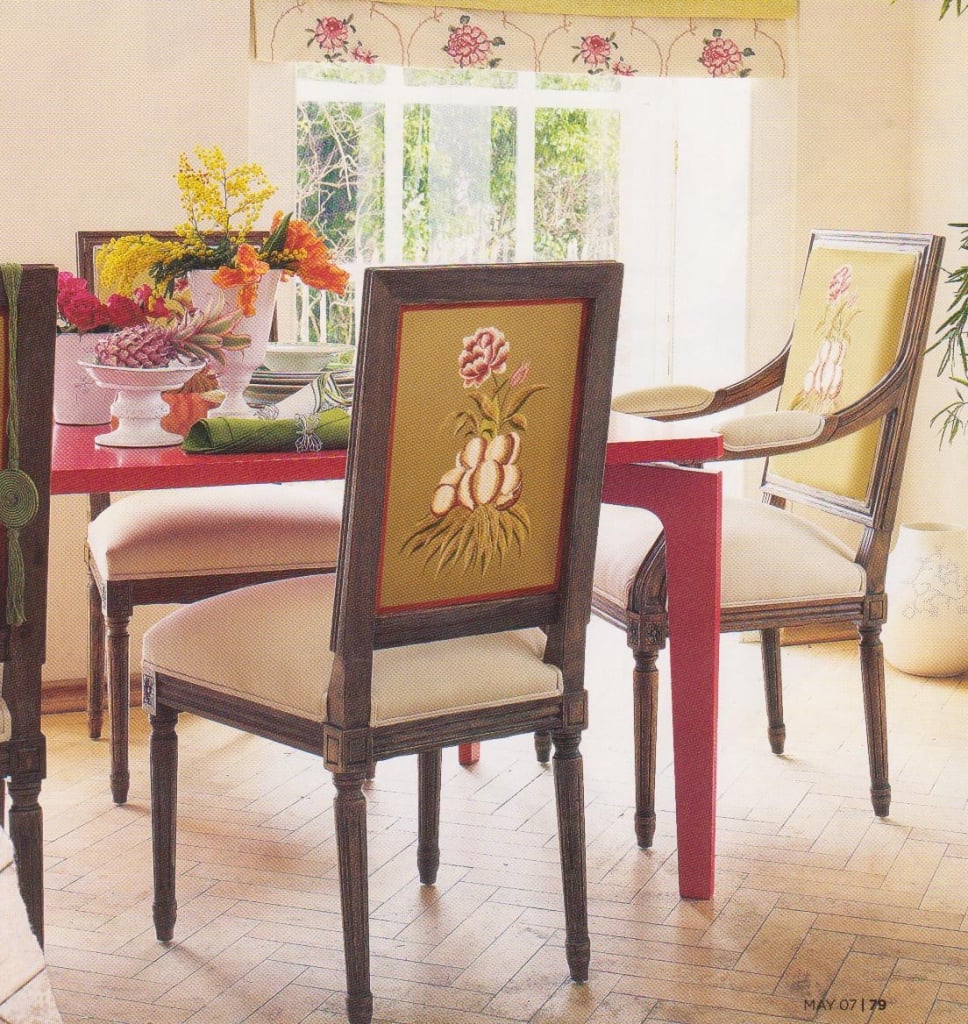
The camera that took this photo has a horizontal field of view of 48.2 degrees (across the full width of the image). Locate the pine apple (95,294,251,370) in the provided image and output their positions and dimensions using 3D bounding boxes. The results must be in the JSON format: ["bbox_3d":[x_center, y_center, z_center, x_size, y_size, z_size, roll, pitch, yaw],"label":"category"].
[{"bbox_3d":[-0.470,-0.270,1.621,0.176,0.071,0.068,-9,53,-24],"label":"pine apple"}]

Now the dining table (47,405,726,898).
[{"bbox_3d":[-0.141,0.233,1.667,1.046,0.612,0.717,-1,4,-18],"label":"dining table"}]

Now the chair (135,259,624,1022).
[{"bbox_3d":[-0.140,0.149,1.424,0.421,0.902,0.515,-7,10,-38],"label":"chair"}]

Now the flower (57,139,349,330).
[{"bbox_3d":[-0.476,-0.448,1.866,0.390,0.270,0.464,28,30,36],"label":"flower"}]

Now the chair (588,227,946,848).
[{"bbox_3d":[0.463,0.008,2.276,0.896,1.023,0.830,-16,15,-36],"label":"chair"}]
